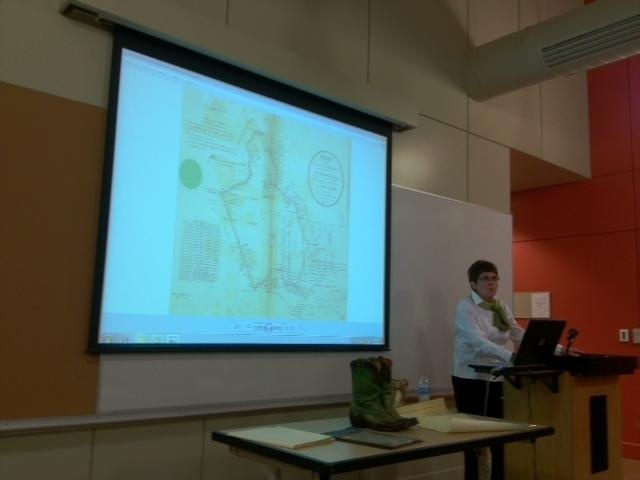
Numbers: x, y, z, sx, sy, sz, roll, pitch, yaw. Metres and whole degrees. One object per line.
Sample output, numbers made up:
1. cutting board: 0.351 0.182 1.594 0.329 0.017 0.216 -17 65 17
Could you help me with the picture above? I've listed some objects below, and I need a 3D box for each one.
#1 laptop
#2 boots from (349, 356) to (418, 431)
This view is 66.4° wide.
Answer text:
1. laptop: 1.231 0.588 2.998 0.388 0.259 0.403 11 -18 -34
2. boots: 0.274 0.744 2.406 0.362 0.376 0.232 -3 -8 25
